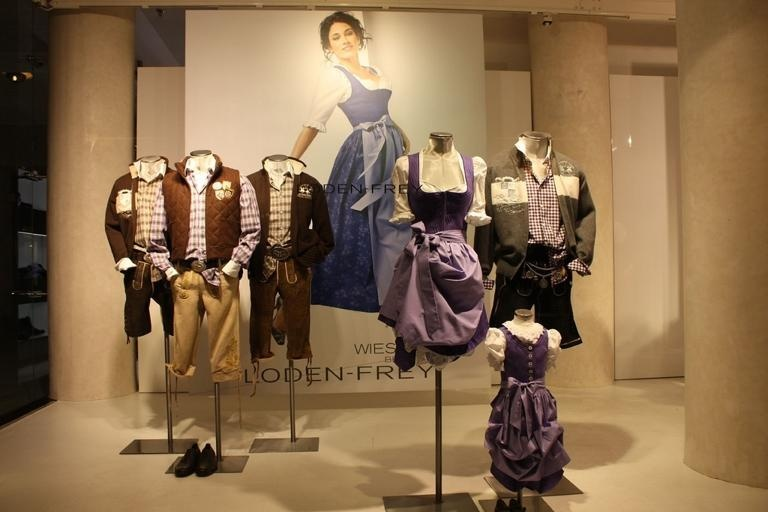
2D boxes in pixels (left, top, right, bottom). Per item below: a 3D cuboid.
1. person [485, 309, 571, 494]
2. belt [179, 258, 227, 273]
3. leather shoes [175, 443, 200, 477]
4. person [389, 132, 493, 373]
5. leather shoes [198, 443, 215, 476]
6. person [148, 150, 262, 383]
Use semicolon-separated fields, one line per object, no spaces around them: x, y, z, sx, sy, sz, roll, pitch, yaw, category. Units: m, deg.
0.846;0.849;3.917;0.486;1.050;0.248;1;4;9;person
-1.170;0.053;4.278;0.304;0.076;0.052;-1;4;-13;belt
-1.239;1.282;4.165;0.160;0.154;0.172;-1;4;-8;leather shoes
0.314;-0.089;4.023;0.662;1.327;0.493;0;4;6;person
-1.124;1.299;4.215;0.118;0.120;0.335;1;3;-8;leather shoes
-1.182;0.067;4.357;0.708;1.518;0.295;-1;4;-13;person
